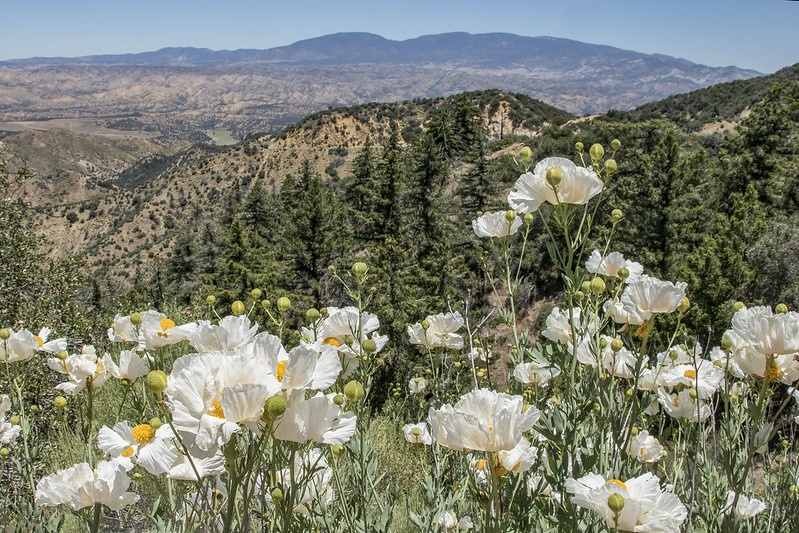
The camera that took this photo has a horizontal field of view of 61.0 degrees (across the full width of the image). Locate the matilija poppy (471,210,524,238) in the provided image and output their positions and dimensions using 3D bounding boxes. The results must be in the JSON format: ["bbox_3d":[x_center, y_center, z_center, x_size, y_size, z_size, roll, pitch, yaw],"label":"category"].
[{"bbox_3d":[0.882,-0.383,6.063,0.311,0.169,0.296,-10,-4,27],"label":"matilija poppy"}]
